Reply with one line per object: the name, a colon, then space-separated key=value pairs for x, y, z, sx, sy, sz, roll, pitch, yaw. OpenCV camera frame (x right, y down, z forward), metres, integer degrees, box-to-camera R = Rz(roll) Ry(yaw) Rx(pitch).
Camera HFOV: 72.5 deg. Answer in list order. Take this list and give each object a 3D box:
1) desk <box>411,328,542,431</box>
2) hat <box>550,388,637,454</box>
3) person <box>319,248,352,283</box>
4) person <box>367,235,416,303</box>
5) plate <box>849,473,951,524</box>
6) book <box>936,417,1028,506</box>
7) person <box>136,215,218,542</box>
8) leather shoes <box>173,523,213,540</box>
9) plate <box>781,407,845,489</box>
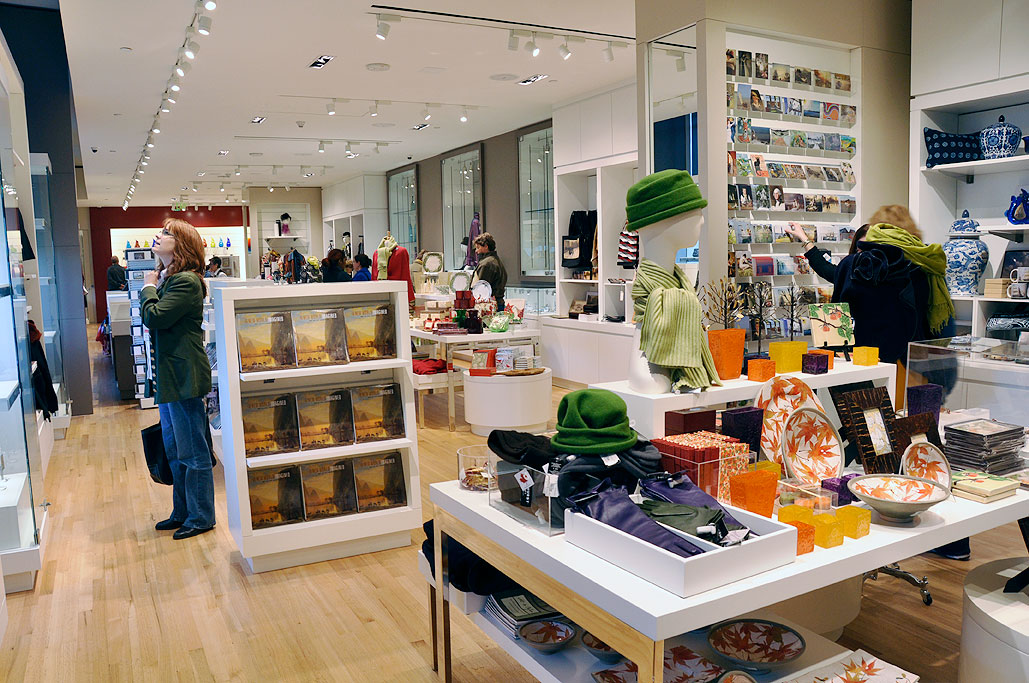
desk: x=-0.418 y=0.243 z=7.981 sx=1.225 sy=0.894 sz=1.212 roll=-4 pitch=5 yaw=-35
hat: x=0.330 y=0.336 z=2.984 sx=0.293 sy=0.183 sz=0.295 roll=-3 pitch=7 yaw=-4
person: x=-2.641 y=-1.191 z=10.274 sx=0.350 sy=0.434 sz=0.978 roll=-5 pitch=12 yaw=-15
person: x=-1.710 y=-1.034 z=9.716 sx=0.699 sy=1.006 sz=0.338 roll=5 pitch=24 yaw=8
plate: x=1.587 y=0.622 z=2.899 sx=0.235 sy=0.087 sz=0.239 roll=3 pitch=12 yaw=30
book: x=2.128 y=0.526 z=3.216 sx=0.410 sy=0.138 sz=0.303 roll=-10 pitch=13 yaw=-37
person: x=-2.360 y=0.278 z=5.038 sx=0.473 sy=2.323 sz=0.536 roll=-10 pitch=14 yaw=-35
leather shoes: x=-2.387 y=1.398 z=5.235 sx=0.268 sy=0.105 sz=0.098 roll=5 pitch=0 yaw=-41
plate: x=1.375 y=0.475 z=3.216 sx=0.326 sy=0.330 sz=0.087 roll=-1 pitch=-3 yaw=-35
